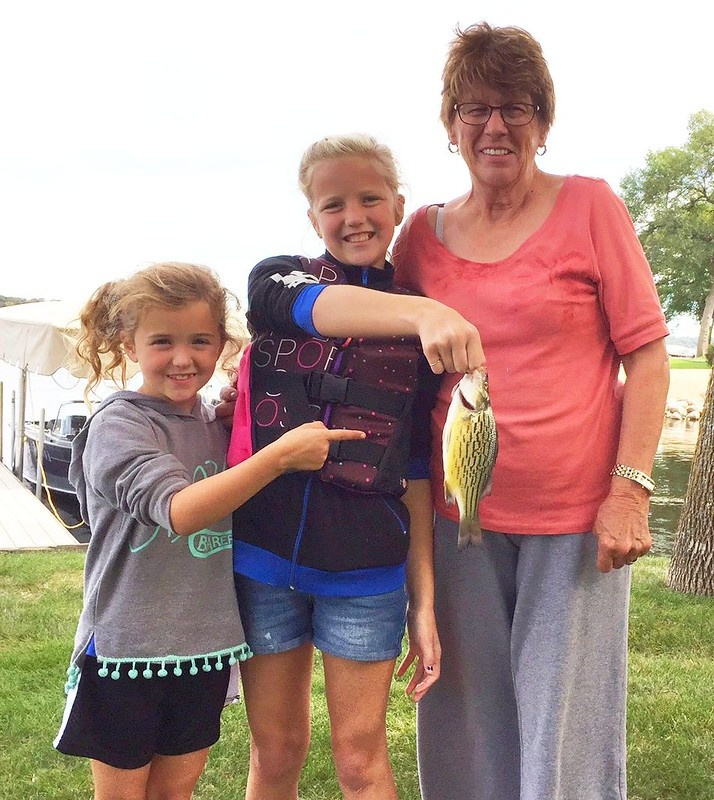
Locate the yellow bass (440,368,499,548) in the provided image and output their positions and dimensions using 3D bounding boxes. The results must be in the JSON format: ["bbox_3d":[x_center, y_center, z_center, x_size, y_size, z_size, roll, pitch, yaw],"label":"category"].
[{"bbox_3d":[0.283,0.157,2.127,0.176,0.428,0.140,3,-1,29],"label":"yellow bass"}]

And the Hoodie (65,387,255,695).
[{"bbox_3d":[-0.551,0.444,2.286,0.488,0.934,0.563,-2,3,-18],"label":"Hoodie"}]

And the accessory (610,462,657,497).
[{"bbox_3d":[0.772,0.217,2.329,0.112,0.083,0.138,0,2,18],"label":"accessory"}]
